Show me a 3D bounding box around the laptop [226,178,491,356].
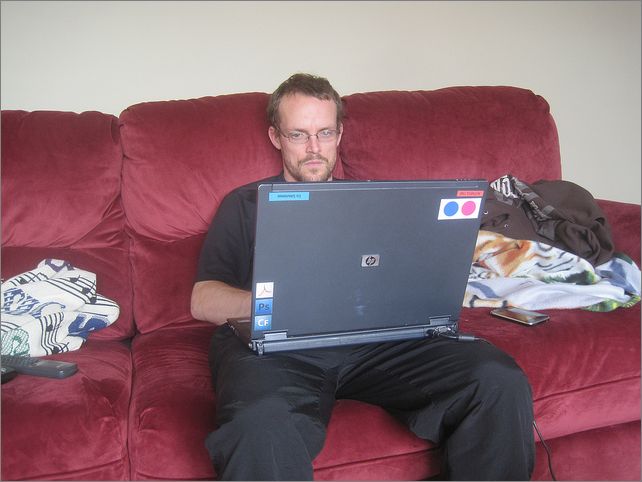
[{"bbox_3d":[0.103,0.044,1.654,0.719,0.517,0.497,-2,15,-14],"label":"laptop"}]
